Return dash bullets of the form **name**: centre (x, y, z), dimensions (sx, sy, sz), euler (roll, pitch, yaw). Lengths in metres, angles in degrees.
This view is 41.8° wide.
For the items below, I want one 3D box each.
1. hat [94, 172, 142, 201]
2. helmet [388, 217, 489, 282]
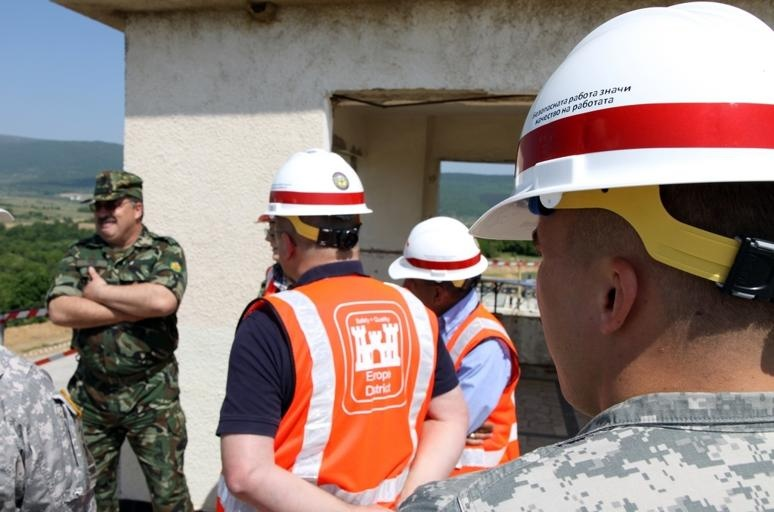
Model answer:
- **hat**: centre (-2.051, -0.552, 7.743), dimensions (0.212, 0.162, 0.294), euler (0, 0, 26)
- **helmet**: centre (0.392, -0.029, 7.062), dimensions (0.495, 0.283, 0.493), euler (1, 15, 2)
